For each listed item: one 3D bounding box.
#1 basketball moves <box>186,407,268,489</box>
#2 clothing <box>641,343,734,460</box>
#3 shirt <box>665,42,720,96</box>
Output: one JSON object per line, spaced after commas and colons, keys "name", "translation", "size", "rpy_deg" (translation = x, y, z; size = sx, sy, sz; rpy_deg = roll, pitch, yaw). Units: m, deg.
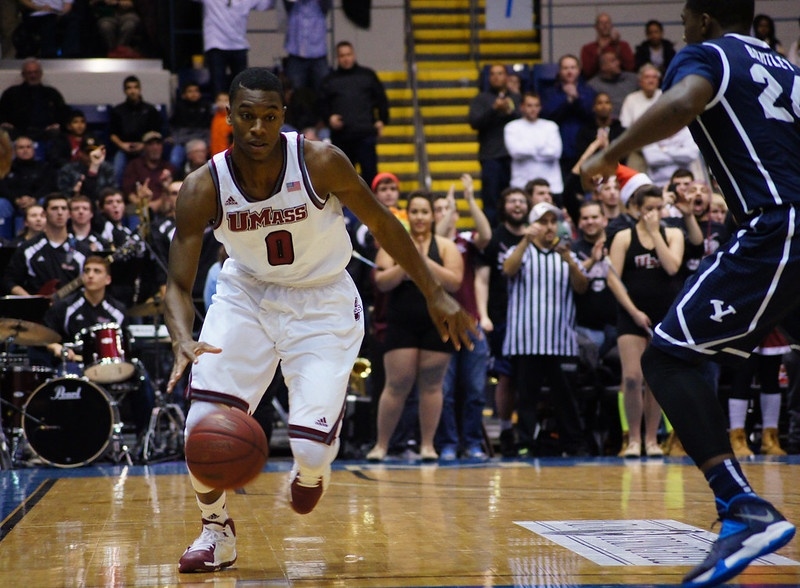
{"name": "basketball moves", "translation": [-0.830, 0.790, 4.995], "size": [0.389, 0.513, 0.416], "rpy_deg": [6, -16, -18]}
{"name": "clothing", "translation": [1.357, 0.516, 4.924], "size": [0.454, 0.534, 0.230], "rpy_deg": [6, 12, 21]}
{"name": "shirt", "translation": [1.374, -1.051, 4.883], "size": [0.269, 0.235, 0.210], "rpy_deg": [6, 12, 22]}
